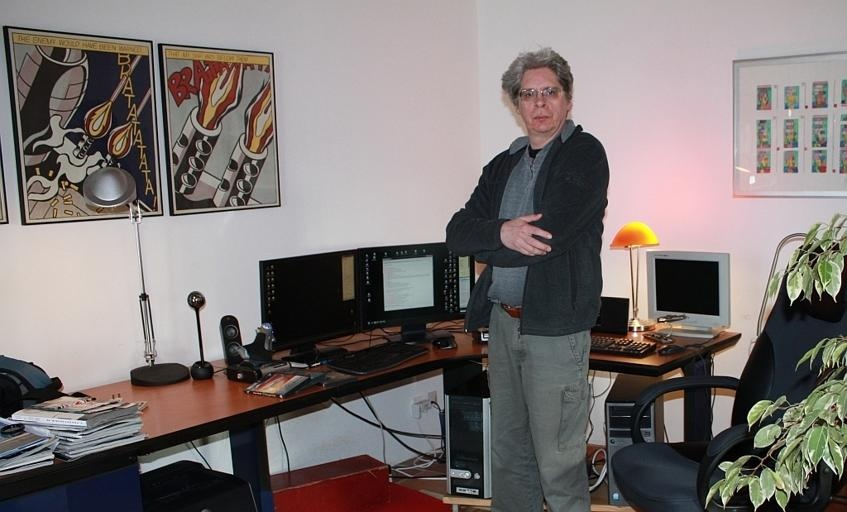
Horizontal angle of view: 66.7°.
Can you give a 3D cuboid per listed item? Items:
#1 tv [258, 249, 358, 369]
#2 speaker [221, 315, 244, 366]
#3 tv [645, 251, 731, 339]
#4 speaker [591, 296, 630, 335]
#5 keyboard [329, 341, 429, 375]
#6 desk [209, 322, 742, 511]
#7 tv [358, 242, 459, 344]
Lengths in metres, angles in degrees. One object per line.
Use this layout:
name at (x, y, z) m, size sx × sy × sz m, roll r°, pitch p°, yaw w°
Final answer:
tv at (-0.677, 0.321, 3.739) m, size 0.651 × 0.596 × 0.226 m, roll -8°, pitch 5°, yaw -43°
speaker at (-1.061, 0.472, 3.591) m, size 0.131 × 0.269 × 0.093 m, roll 1°, pitch 2°, yaw 33°
tv at (1.651, 0.242, 3.982) m, size 0.550 × 0.563 × 0.336 m, roll -2°, pitch -2°, yaw 32°
speaker at (1.180, 0.384, 4.151) m, size 0.316 × 0.247 × 0.292 m, roll 5°, pitch 4°, yaw 14°
keyboard at (-0.259, 0.582, 3.676) m, size 0.300 × 0.112 × 0.538 m, roll 0°, pitch 1°, yaw 42°
desk at (0.886, 0.693, 4.046) m, size 1.607 × 0.833 × 1.626 m, roll -1°, pitch 0°, yaw 43°
tv at (-0.096, 0.226, 4.034) m, size 0.650 × 0.530 × 0.201 m, roll -2°, pitch 3°, yaw -14°
